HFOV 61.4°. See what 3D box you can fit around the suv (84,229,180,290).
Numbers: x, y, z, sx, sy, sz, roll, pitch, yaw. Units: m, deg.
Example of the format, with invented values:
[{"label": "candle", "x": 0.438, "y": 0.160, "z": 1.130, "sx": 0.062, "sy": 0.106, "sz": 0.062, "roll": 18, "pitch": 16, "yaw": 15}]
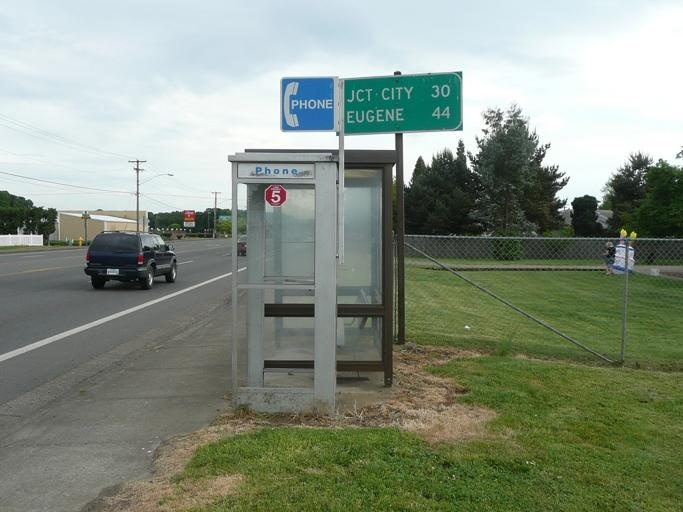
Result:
[{"label": "suv", "x": -6.787, "y": 0.055, "z": 19.291, "sx": 1.584, "sy": 1.298, "sz": 2.952, "roll": 1, "pitch": 4, "yaw": 9}]
